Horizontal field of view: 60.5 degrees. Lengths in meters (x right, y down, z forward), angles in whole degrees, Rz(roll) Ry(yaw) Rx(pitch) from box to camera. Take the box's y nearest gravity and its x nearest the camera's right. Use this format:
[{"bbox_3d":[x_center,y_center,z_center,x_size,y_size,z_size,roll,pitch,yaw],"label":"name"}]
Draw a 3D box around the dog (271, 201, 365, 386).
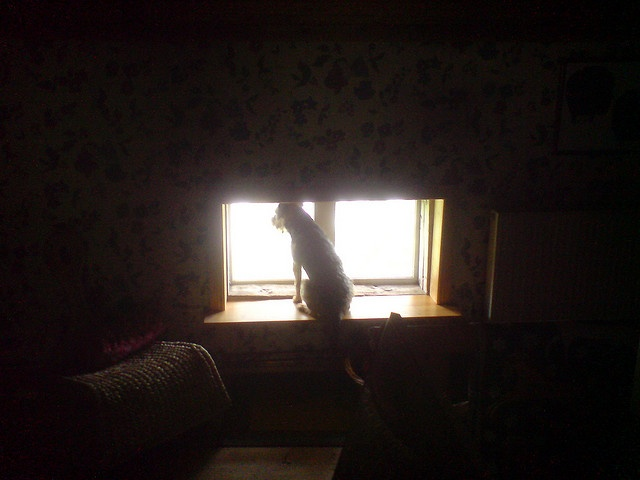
[{"bbox_3d":[0.039,0.218,3.246,0.365,0.550,1.230,-13,37,-21],"label":"dog"}]
